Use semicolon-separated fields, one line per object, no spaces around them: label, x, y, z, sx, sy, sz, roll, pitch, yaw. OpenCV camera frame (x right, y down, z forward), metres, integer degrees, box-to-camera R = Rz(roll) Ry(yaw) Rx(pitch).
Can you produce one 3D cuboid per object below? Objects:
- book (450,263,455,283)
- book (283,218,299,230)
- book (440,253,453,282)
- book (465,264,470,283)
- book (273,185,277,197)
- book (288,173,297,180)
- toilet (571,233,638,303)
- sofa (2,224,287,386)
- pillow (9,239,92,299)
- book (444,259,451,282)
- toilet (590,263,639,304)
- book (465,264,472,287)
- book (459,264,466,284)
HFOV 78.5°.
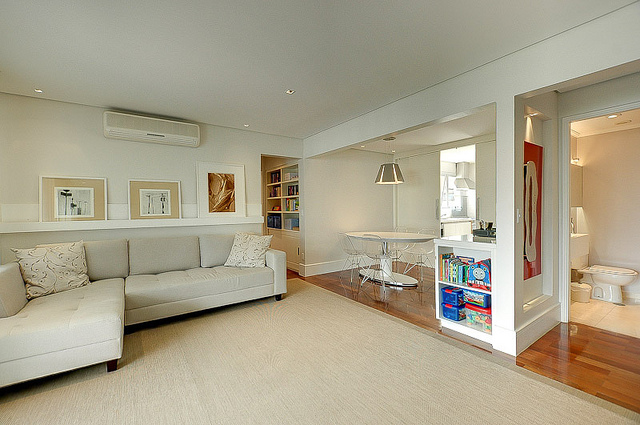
book;1.735;0.805;5.192;0.043;0.172;0.177;5;2;25
book;-0.602;0.190;8.204;0.198;0.221;0.355;0;-1;-19
book;1.688;0.757;5.262;0.057;0.409;0.383;2;3;39
book;1.905;0.798;5.093;0.048;0.230;0.048;0;10;7
book;-1.012;-0.477;8.812;0.133;0.229;0.244;1;-2;-12
book;-0.582;-0.755;8.206;0.189;0.127;0.126;-1;9;0
toilet;4.252;0.821;5.986;0.997;0.987;0.781;2;10;16
sofa;-2.260;0.908;5.642;3.765;1.417;2.059;-8;11;-37
pillow;-3.472;0.749;5.011;0.625;0.518;0.277;-11;-31;-42
book;1.689;0.773;5.250;0.054;0.213;0.214;2;3;19
toilet;4.374;1.078;5.910;0.658;0.478;0.439;-1;1;38
book;1.894;0.812;5.082;0.044;0.265;0.084;2;10;20
book;1.844;0.805;5.110;0.193;0.183;0.044;2;0;-45
